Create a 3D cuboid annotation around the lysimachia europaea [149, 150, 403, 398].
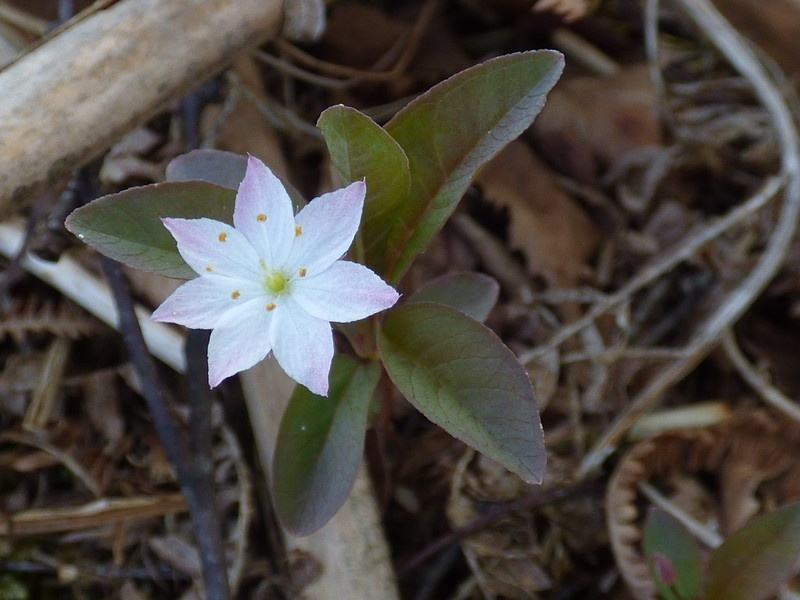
[{"bbox_3d":[-0.228,-0.021,2.358,0.440,0.427,0.088,11,-12,47],"label":"lysimachia europaea"}]
